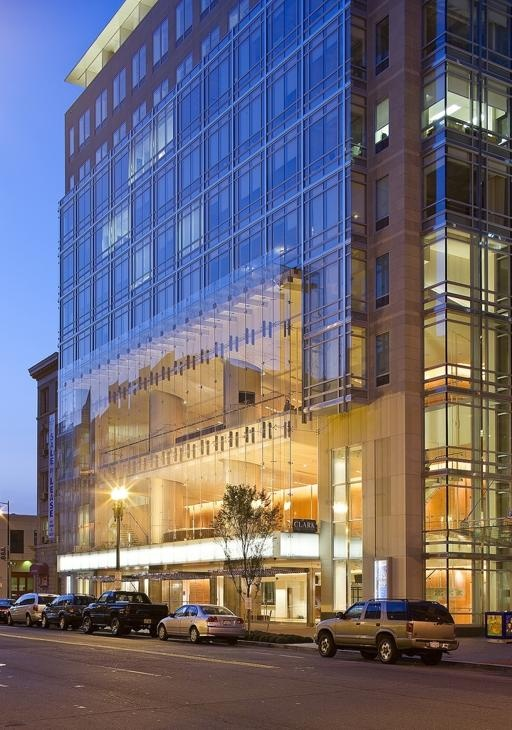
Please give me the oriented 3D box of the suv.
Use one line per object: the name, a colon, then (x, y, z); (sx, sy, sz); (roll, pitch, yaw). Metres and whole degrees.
suv: (3.218, 6.664, 29.083); (1.779, 1.673, 3.882); (9, -13, -37)
